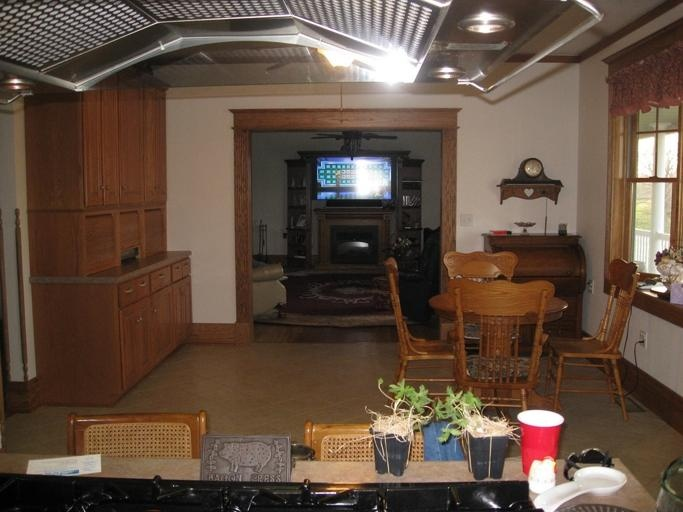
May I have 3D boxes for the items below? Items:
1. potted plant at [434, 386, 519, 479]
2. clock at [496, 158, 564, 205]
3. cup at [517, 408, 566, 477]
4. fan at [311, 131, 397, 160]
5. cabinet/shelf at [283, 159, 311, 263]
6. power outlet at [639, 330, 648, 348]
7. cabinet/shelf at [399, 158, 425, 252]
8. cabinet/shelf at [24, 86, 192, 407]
[{"bbox_3d":[0.470,0.530,1.662,0.293,0.237,0.270,2,-8,-19],"label":"potted plant"},{"bbox_3d":[2.072,-0.839,5.726,0.632,0.393,0.100,0,1,2],"label":"clock"},{"bbox_3d":[0.584,0.552,1.542,0.116,0.190,0.161,0,8,4],"label":"cup"},{"bbox_3d":[0.322,-2.260,10.763,1.489,0.479,1.500,-2,3,-34],"label":"fan"},{"bbox_3d":[-0.993,-0.984,11.875,0.658,2.438,0.674,0,8,4],"label":"cabinet/shelf"},{"bbox_3d":[2.494,0.689,4.327,0.063,0.122,0.186,1,1,21],"label":"power outlet"},{"bbox_3d":[1.529,-1.209,11.595,0.566,1.937,0.773,0,8,7],"label":"cabinet/shelf"},{"bbox_3d":[-2.025,-0.216,4.653,0.738,2.712,1.661,0,8,8],"label":"cabinet/shelf"}]
